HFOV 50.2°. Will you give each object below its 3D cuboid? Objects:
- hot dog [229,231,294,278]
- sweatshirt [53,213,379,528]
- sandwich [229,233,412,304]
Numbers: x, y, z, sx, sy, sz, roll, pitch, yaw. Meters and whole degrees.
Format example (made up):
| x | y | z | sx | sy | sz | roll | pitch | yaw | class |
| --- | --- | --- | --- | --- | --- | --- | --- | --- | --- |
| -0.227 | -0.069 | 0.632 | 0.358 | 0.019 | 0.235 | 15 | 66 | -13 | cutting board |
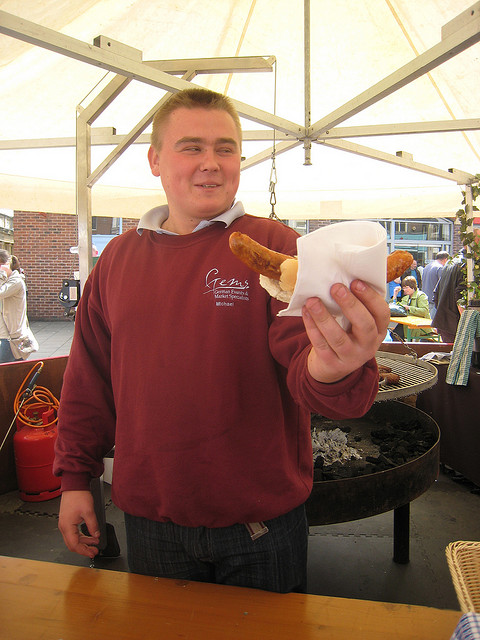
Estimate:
| x | y | z | sx | sy | sz | roll | pitch | yaw | class |
| --- | --- | --- | --- | --- | --- | --- | --- | --- | --- |
| 0.066 | -0.119 | 1.042 | 0.179 | 0.054 | 0.047 | 29 | -32 | -32 | hot dog |
| -0.198 | 0.145 | 1.676 | 0.840 | 0.959 | 0.319 | -1 | -5 | 31 | sweatshirt |
| 0.200 | -0.093 | 1.086 | 0.477 | 0.155 | 0.139 | -3 | -2 | -26 | sandwich |
